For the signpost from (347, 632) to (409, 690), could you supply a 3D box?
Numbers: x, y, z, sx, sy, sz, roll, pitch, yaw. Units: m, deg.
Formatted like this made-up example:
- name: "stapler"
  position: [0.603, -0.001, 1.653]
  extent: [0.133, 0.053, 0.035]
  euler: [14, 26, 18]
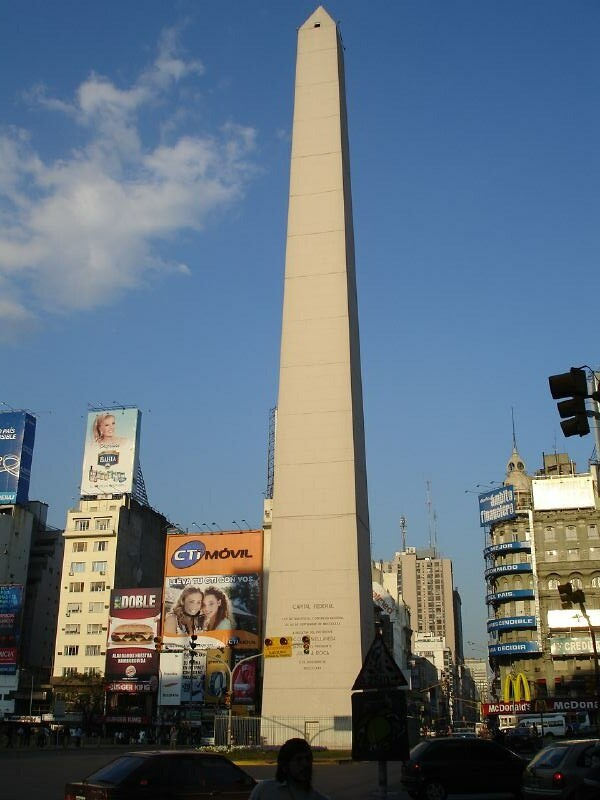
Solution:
- name: "signpost"
  position: [1.307, 4.267, 12.534]
  extent: [0.730, 0.893, 1.038]
  euler: [1, -19, -6]

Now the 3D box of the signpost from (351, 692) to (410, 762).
- name: "signpost"
  position: [1.230, 5.017, 11.835]
  extent: [1.168, 1.260, 0.151]
  euler: [-12, -22, 30]

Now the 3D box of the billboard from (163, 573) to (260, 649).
- name: "billboard"
  position: [-8.798, 22.323, 80.557]
  extent: [13.225, 9.060, 1.351]
  euler: [-2, -26, 7]
